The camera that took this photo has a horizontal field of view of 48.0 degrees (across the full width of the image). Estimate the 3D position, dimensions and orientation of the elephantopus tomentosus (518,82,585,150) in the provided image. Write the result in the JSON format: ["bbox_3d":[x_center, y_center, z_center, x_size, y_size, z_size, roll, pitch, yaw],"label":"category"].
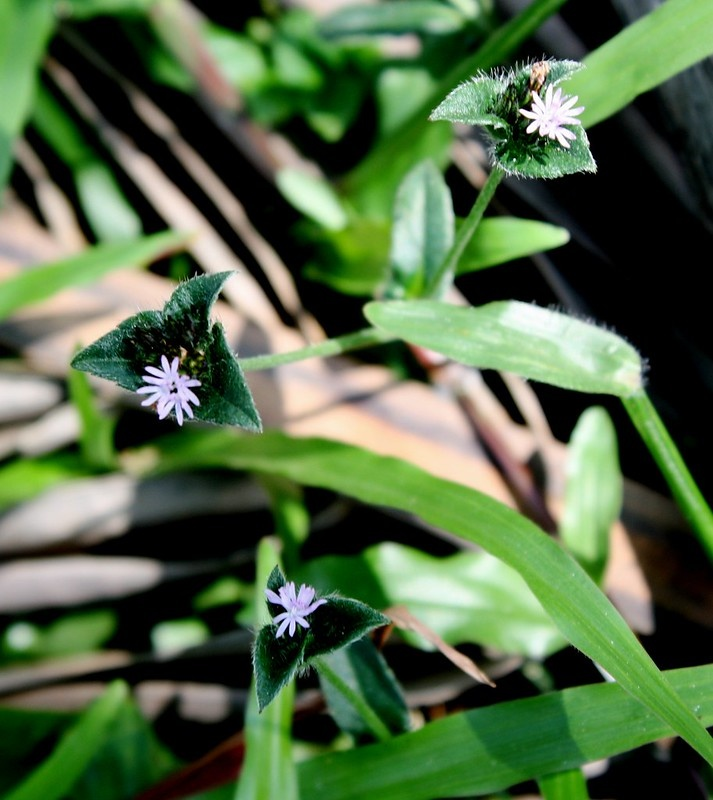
[{"bbox_3d":[0.164,-0.229,0.647,0.062,0.053,0.022,-2,2,-3],"label":"elephantopus tomentosus"}]

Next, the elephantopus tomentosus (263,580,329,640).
[{"bbox_3d":[-0.044,0.156,0.600,0.045,0.034,0.058,-16,-29,-10],"label":"elephantopus tomentosus"}]
